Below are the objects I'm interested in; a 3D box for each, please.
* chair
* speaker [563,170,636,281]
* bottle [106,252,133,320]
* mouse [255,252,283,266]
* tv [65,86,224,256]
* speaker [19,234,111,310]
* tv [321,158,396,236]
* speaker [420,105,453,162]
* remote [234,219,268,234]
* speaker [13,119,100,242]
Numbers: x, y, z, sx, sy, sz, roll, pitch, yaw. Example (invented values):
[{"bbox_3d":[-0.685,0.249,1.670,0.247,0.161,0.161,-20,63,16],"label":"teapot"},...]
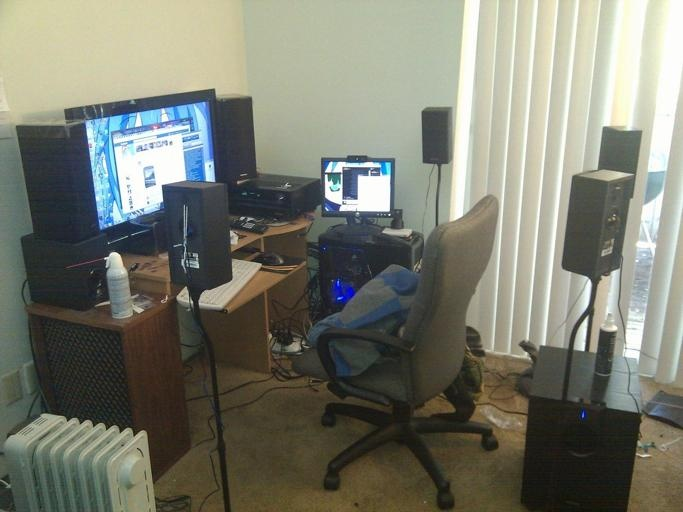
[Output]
[{"bbox_3d":[0.310,0.417,2.746,0.779,1.341,0.465,2,16,15],"label":"chair"},{"bbox_3d":[1.082,-0.129,2.536,0.292,0.429,0.131,-7,16,-18],"label":"speaker"},{"bbox_3d":[-0.966,0.115,2.663,0.097,0.284,0.170,-8,16,-22],"label":"bottle"},{"bbox_3d":[-0.384,0.015,3.232,0.099,0.031,0.077,12,20,37],"label":"mouse"},{"bbox_3d":[-0.916,-0.371,2.752,0.104,0.559,0.760,10,23,21],"label":"tv"},{"bbox_3d":[-1.184,0.059,2.645,0.267,0.264,0.146,7,19,18],"label":"speaker"},{"bbox_3d":[0.099,-0.364,3.617,0.444,0.437,0.150,1,15,5],"label":"tv"},{"bbox_3d":[0.526,-0.666,3.409,0.157,0.310,0.093,1,15,8],"label":"speaker"},{"bbox_3d":[-0.506,-0.167,3.379,0.161,0.039,0.086,18,26,34],"label":"remote"},{"bbox_3d":[-1.206,-0.312,2.589,0.287,0.493,0.097,1,15,11],"label":"speaker"}]
